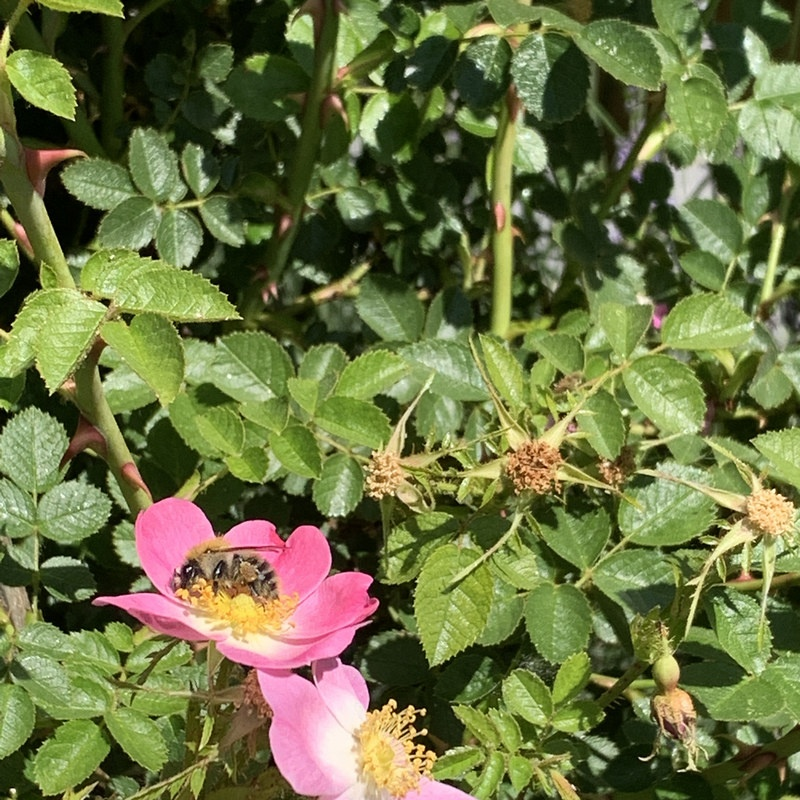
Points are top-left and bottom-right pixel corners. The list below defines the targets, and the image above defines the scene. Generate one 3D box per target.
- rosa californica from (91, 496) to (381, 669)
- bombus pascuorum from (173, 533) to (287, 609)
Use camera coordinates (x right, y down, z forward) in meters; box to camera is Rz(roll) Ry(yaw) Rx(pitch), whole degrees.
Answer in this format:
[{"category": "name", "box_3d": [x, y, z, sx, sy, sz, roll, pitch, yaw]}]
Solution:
[{"category": "rosa californica", "box_3d": [-0.141, 0.161, 0.897, 0.232, 0.137, 0.150, 24, 66, 3]}, {"category": "bombus pascuorum", "box_3d": [-0.153, 0.166, 0.939, 0.082, 0.055, 0.023, 3, 92, 20]}]
